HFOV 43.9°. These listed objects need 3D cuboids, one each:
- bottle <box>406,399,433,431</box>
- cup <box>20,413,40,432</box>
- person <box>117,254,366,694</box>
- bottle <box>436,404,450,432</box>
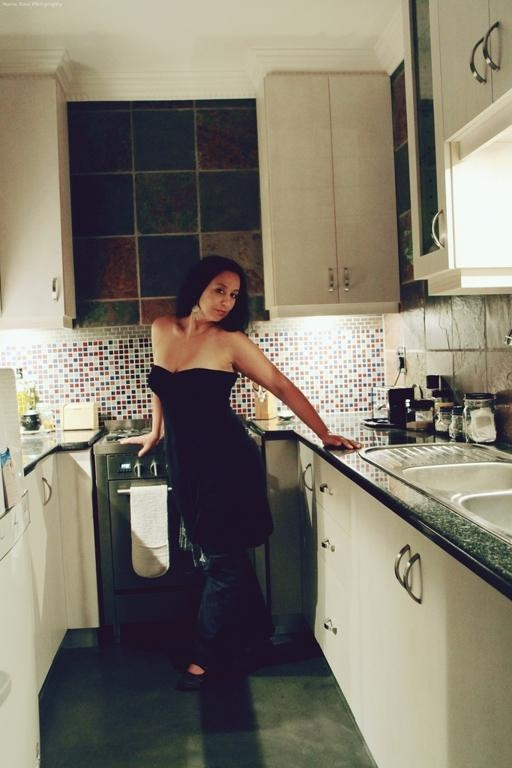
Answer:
[{"bbox_3d":[0.631,0.126,2.500,0.108,0.113,0.101,-1,2,-9],"label":"bottle"},{"bbox_3d":[-1.013,0.174,2.862,0.077,0.079,0.080,1,-4,0],"label":"cup"},{"bbox_3d":[-0.120,0.267,2.491,0.566,1.538,0.710,-4,5,-18],"label":"person"},{"bbox_3d":[0.675,0.127,2.299,0.031,0.106,0.089,-5,5,-26],"label":"bottle"}]
